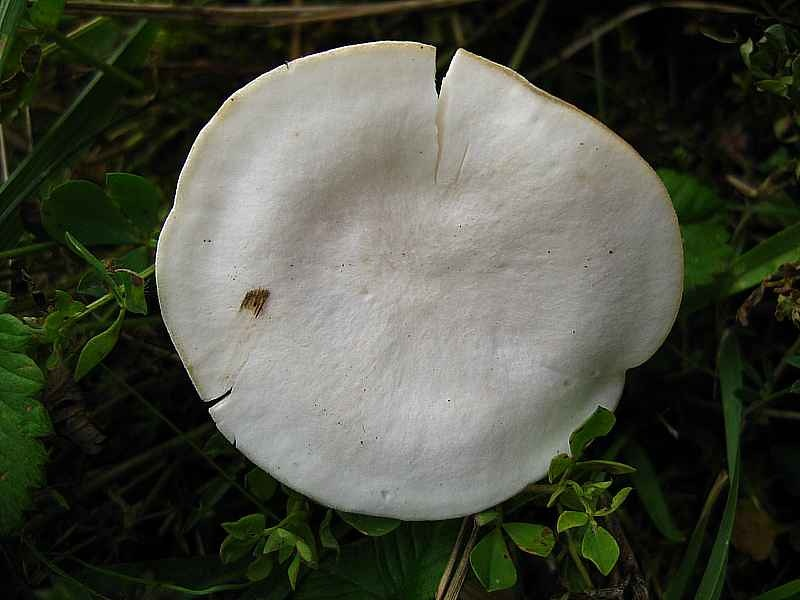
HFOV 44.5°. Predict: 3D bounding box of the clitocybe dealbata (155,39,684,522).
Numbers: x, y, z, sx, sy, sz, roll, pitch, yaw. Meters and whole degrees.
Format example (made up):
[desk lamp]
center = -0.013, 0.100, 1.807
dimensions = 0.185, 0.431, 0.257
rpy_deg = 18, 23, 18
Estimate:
[clitocybe dealbata]
center = 0.001, -0.055, 3.123
dimensions = 1.530, 0.344, 1.473
rpy_deg = 38, 85, 4
